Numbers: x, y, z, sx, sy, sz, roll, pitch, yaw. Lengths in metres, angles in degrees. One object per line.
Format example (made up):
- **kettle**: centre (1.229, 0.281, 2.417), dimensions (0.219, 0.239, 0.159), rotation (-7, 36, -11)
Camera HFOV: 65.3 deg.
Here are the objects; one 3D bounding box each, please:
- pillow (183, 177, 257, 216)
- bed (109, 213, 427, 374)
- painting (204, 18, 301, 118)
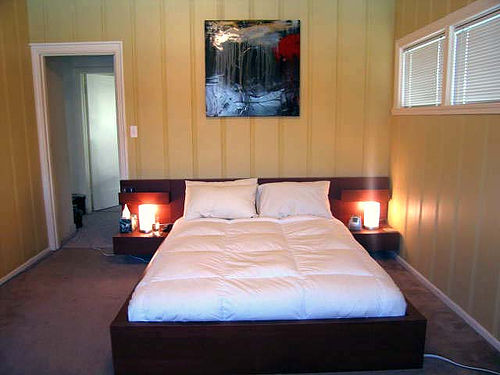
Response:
- **pillow**: centre (-0.335, 0.120, 4.485), dimensions (0.608, 0.083, 0.342), rotation (0, 50, 1)
- **bed**: centre (0.106, 0.939, 3.333), dimensions (2.306, 0.810, 1.012), rotation (-2, 12, -2)
- **painting**: centre (0.025, -1.534, 4.799), dimensions (1.301, 1.055, 0.023), rotation (0, 10, 0)
